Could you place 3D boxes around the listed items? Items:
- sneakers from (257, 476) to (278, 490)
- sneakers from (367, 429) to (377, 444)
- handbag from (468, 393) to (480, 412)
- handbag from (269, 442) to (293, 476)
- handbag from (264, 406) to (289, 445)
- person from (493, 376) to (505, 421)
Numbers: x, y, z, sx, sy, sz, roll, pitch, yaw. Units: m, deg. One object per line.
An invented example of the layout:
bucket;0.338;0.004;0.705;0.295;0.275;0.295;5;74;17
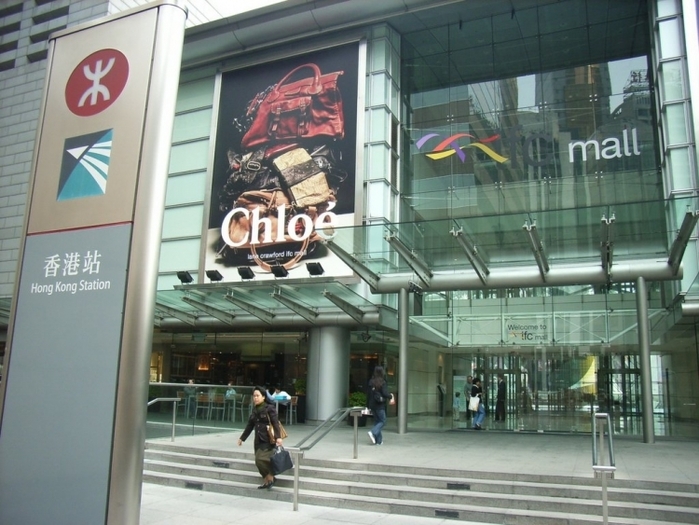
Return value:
sneakers;-1.583;4.222;11.533;0.355;0.246;0.245;2;-13;-15
sneakers;0.554;4.246;14.847;0.180;0.442;0.152;-3;-25;-14
handbag;4.282;4.787;20.539;0.428;0.553;0.429;10;-17;-40
handbag;-1.274;3.719;11.285;0.440;0.511;0.481;0;-13;-7
handbag;-1.425;3.106;11.539;0.382;0.746;0.272;-1;-13;1
person;5.269;4.741;20.856;0.449;1.547;0.171;-4;-13;12
